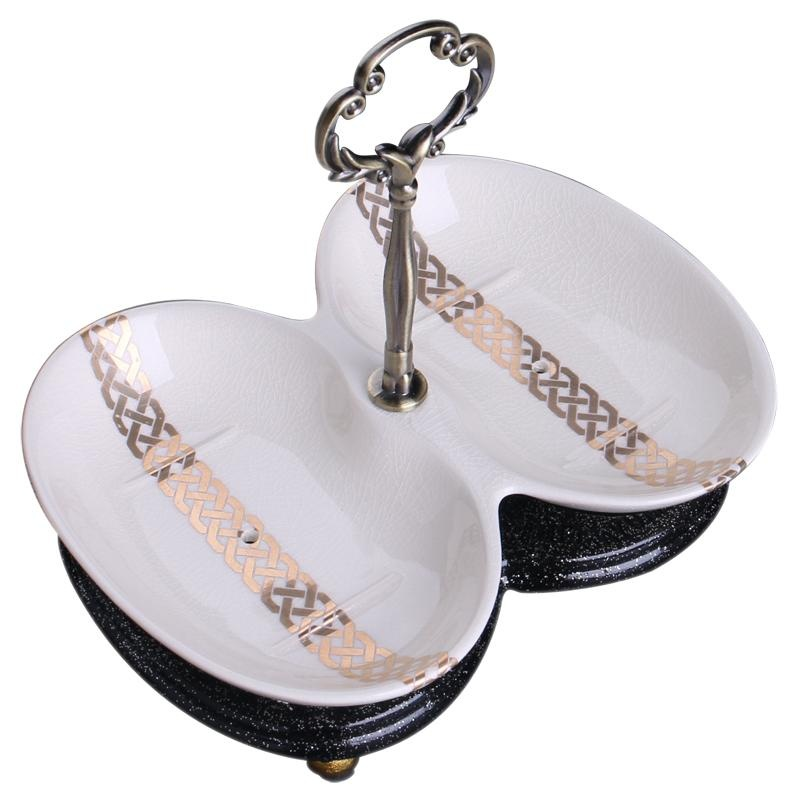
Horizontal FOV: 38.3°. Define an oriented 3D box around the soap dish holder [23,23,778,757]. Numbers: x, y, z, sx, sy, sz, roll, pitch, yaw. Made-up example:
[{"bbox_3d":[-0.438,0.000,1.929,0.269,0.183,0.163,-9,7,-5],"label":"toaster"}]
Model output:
[{"bbox_3d":[0.007,-0.150,1.844,1.224,0.874,0.874,-23,30,-33],"label":"soap dish holder"}]
